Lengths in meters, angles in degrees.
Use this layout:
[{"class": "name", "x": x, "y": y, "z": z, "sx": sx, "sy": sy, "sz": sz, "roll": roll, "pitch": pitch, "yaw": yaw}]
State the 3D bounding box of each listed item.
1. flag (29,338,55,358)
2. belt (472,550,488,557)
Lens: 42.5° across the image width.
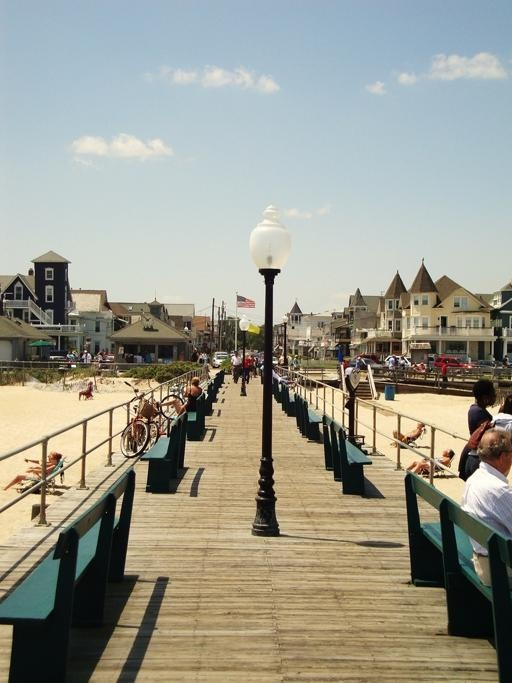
[{"class": "flag", "x": -21.749, "y": 0.490, "z": 67.730, "sx": 2.245, "sy": 1.624, "sz": 2.150, "roll": 0, "pitch": -4, "yaw": -2}, {"class": "belt", "x": 1.294, "y": 1.195, "z": 3.780, "sx": 0.064, "sy": 0.032, "sz": 0.091, "roll": 3, "pitch": -3, "yaw": 3}]
